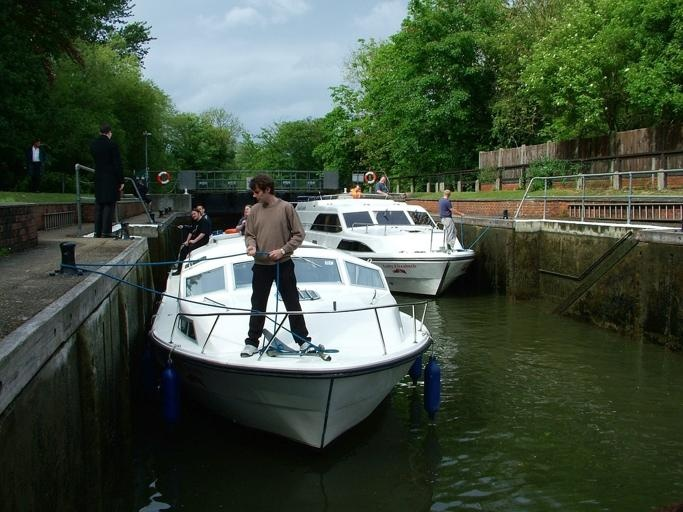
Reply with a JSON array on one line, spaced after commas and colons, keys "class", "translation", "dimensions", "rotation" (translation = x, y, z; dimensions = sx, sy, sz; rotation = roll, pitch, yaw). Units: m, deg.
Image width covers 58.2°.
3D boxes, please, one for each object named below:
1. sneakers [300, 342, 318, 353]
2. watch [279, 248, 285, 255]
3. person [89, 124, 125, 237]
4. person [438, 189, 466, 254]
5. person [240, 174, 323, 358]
[{"class": "sneakers", "translation": [-0.430, 1.199, 8.166], "dimensions": [0.287, 0.125, 0.101], "rotation": [4, 9, 43]}, {"class": "watch", "translation": [-0.737, -0.057, 7.765], "dimensions": [0.051, 0.073, 0.080], "rotation": [5, 22, 7]}, {"class": "person", "translation": [-4.518, -1.369, 11.819], "dimensions": [0.606, 2.239, 1.101], "rotation": [-6, 15, -22]}, {"class": "person", "translation": [3.156, -1.054, 17.753], "dimensions": [0.601, 1.579, 1.607], "rotation": [2, 14, 9]}, {"class": "person", "translation": [-0.868, 0.108, 8.039], "dimensions": [0.943, 2.336, 0.640], "rotation": [-2, 14, -5]}]
